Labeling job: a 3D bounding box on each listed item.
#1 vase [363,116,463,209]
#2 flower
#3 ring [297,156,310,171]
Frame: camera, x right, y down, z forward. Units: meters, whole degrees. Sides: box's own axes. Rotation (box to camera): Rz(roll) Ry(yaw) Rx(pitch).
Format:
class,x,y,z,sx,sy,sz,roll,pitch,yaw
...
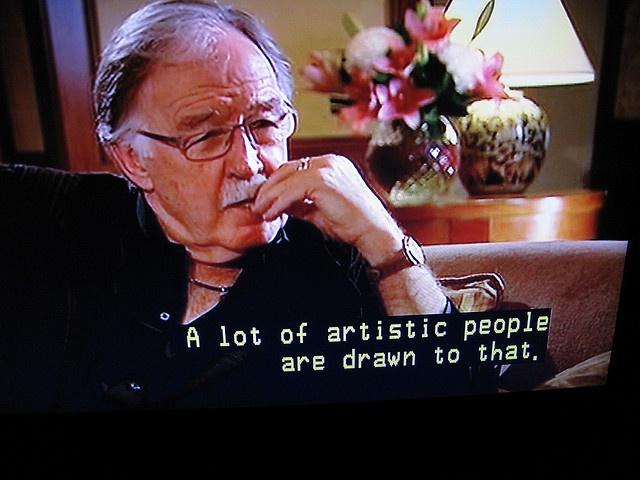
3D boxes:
class,x,y,z,sx,sy,sz,roll,pitch,yaw
vase,0.354,-0.269,2.608,0.425,0.328,0.412,-4,7,-24
flower,0.283,-0.543,2.381,0.446,0.224,0.463,20,49,31
ring,-0.053,-0.256,2.428,0.027,0.042,0.018,6,39,-4
